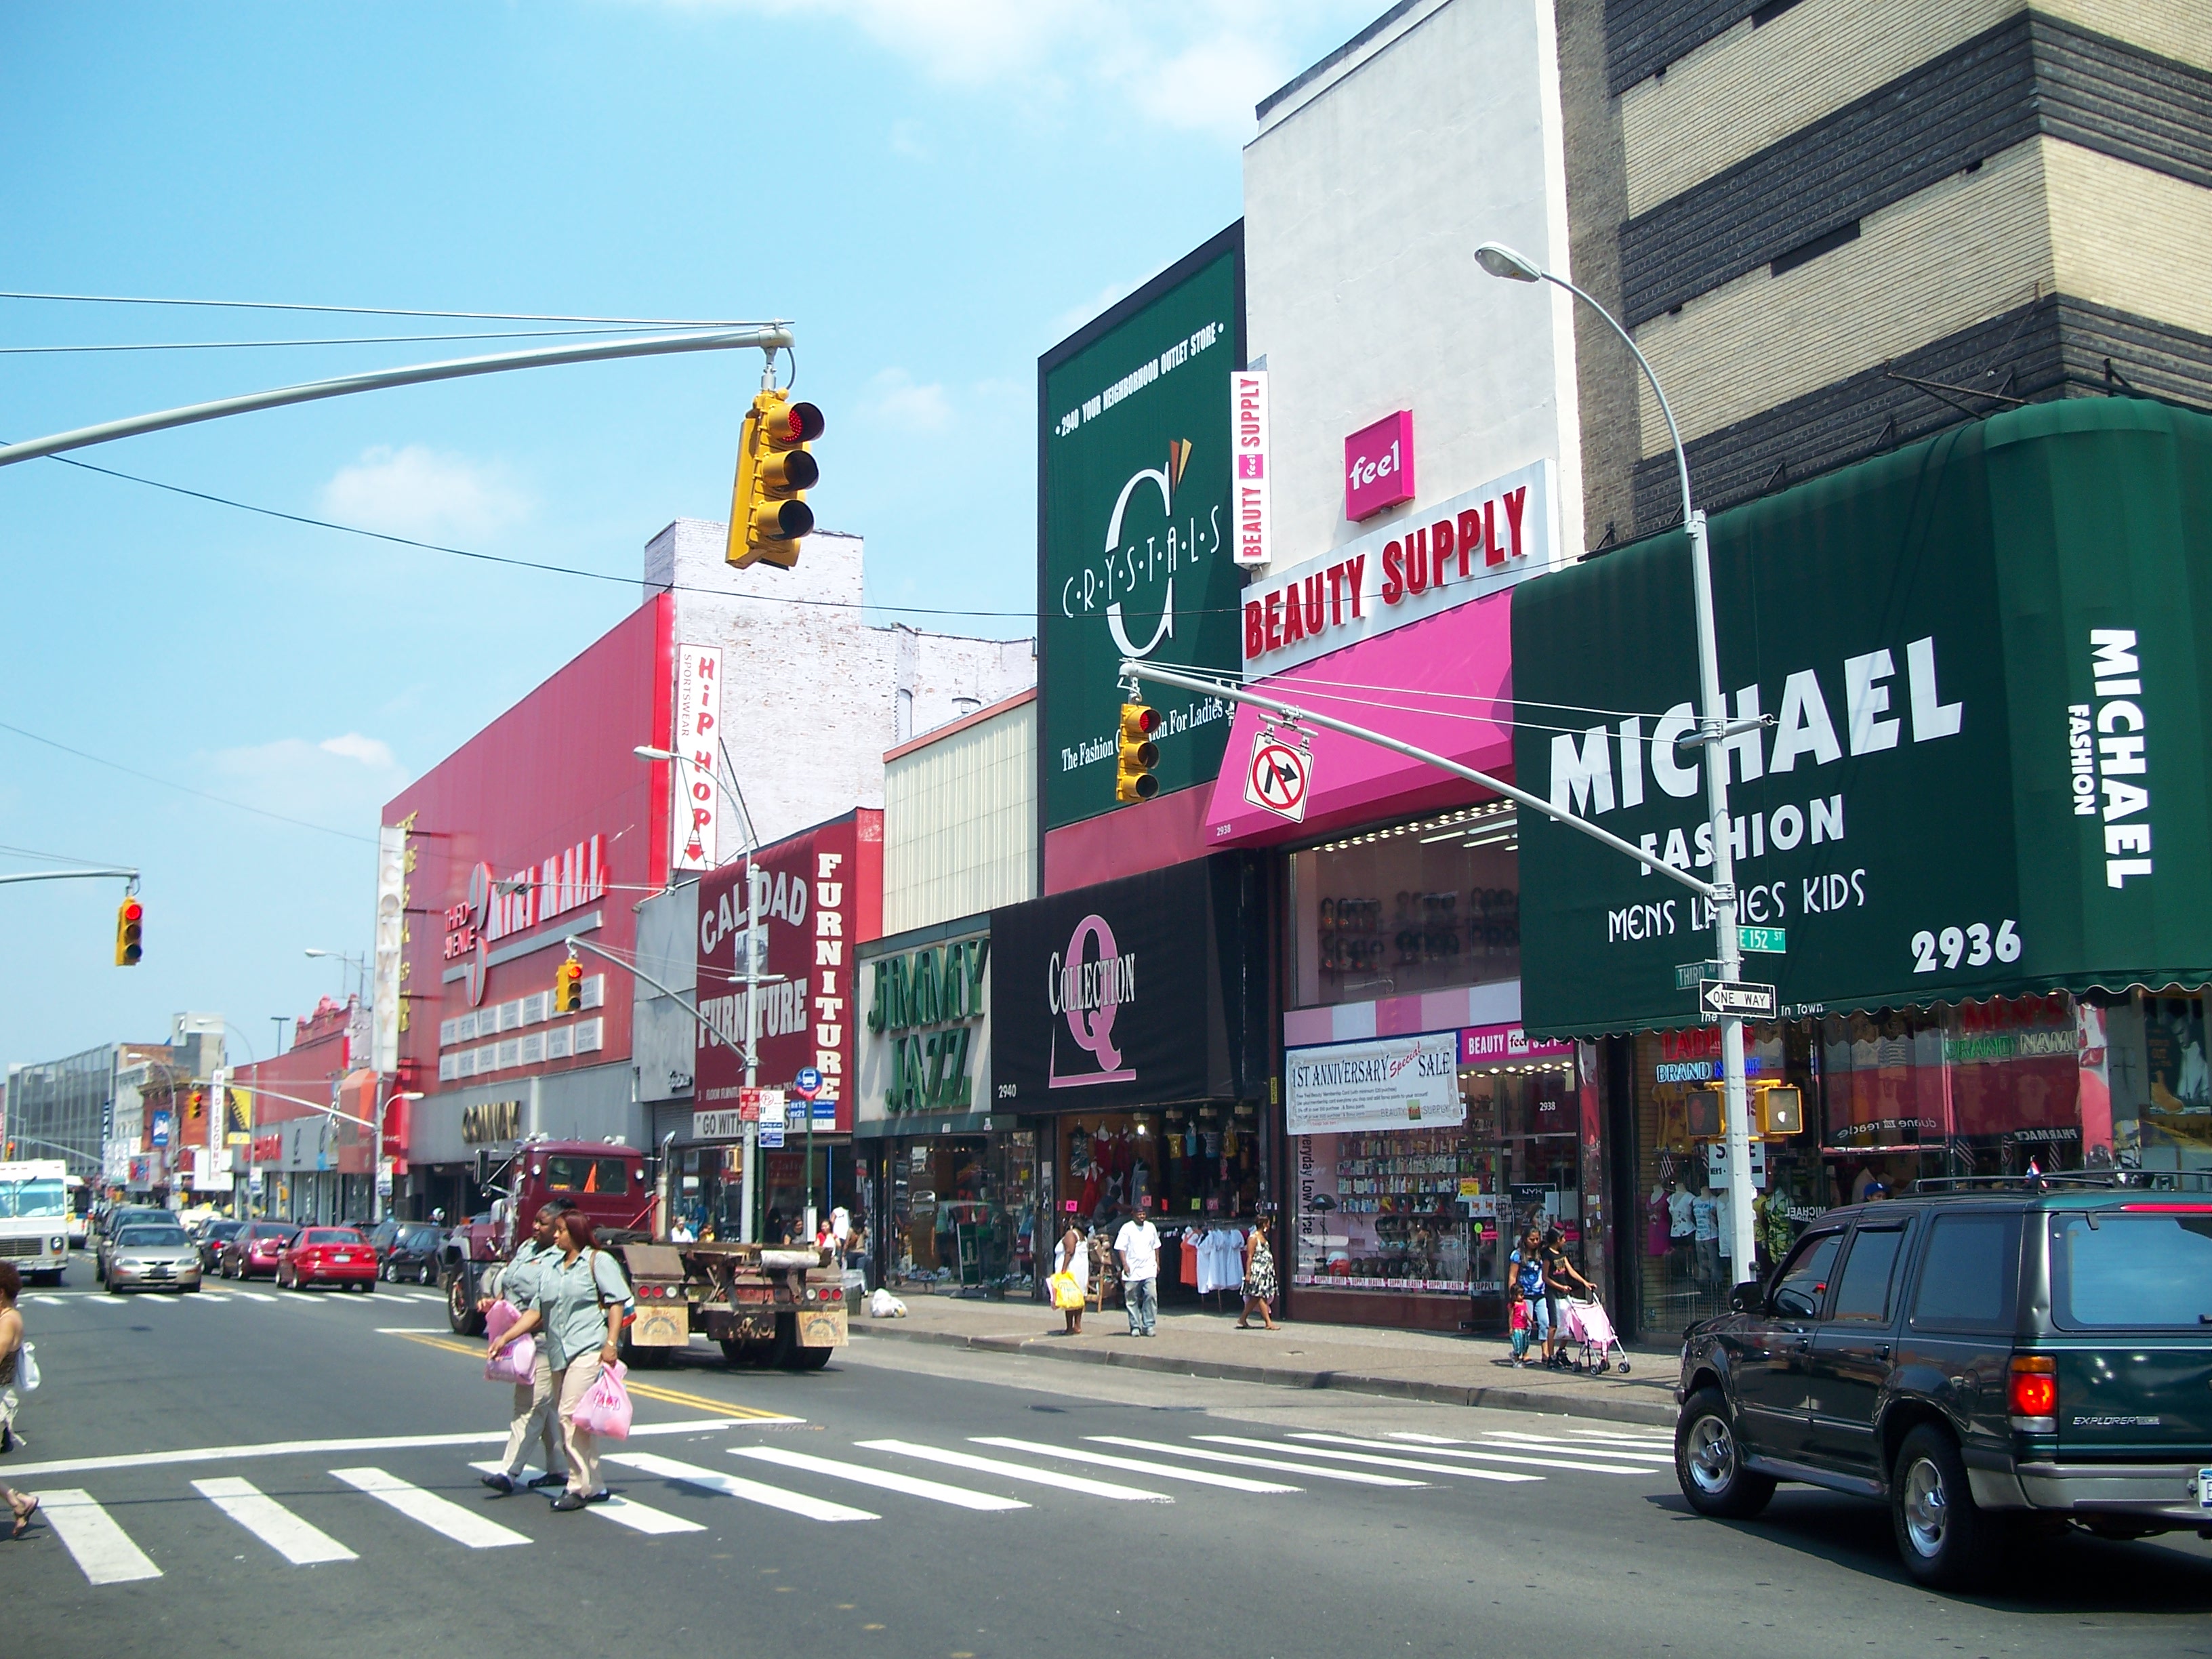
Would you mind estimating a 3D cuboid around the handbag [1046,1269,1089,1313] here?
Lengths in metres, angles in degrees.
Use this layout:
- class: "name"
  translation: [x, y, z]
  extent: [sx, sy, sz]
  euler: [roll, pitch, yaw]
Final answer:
- class: "handbag"
  translation: [-0.752, 7.731, 38.532]
  extent: [0.751, 0.885, 0.513]
  euler: [-4, -9, 12]

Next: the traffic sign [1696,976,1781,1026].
- class: "traffic sign"
  translation: [7.507, 2.021, 27.450]
  extent: [0.796, 0.464, 0.444]
  euler: [0, -5, -1]

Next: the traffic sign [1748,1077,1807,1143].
- class: "traffic sign"
  translation: [7.907, 3.295, 27.056]
  extent: [0.579, 0.853, 0.855]
  euler: [0, -5, -4]

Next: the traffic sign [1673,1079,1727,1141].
- class: "traffic sign"
  translation: [7.068, 3.340, 27.387]
  extent: [0.404, 0.589, 0.700]
  euler: [0, -6, 3]

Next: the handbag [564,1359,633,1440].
- class: "handbag"
  translation: [-4.335, 4.889, 19.838]
  extent: [0.495, 0.625, 0.409]
  euler: [2, -5, -22]
